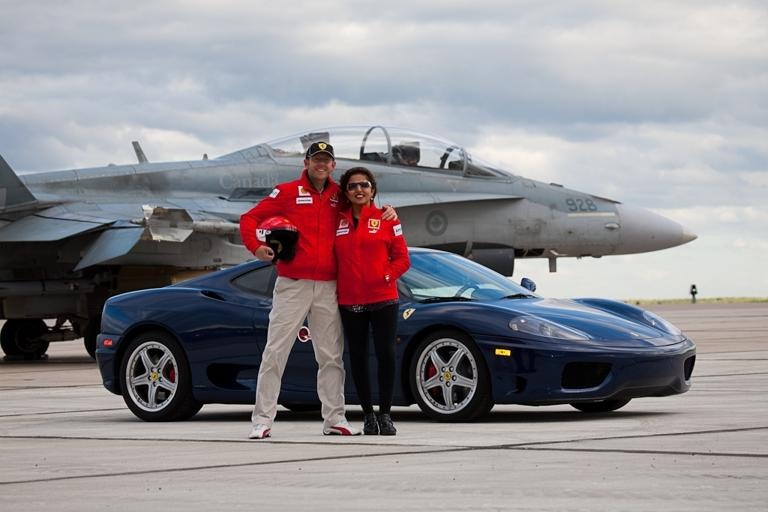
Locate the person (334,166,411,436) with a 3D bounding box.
[{"bbox_3d":[-0.102,0.380,7.191,0.648,2.327,0.848,-2,12,-2],"label":"person"}]

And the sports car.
[{"bbox_3d":[-0.007,0.902,8.351,5.203,0.942,2.383,-2,-2,13],"label":"sports car"}]

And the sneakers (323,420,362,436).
[{"bbox_3d":[-0.385,1.534,7.208,0.401,0.109,0.118,-2,-6,11],"label":"sneakers"}]

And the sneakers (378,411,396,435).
[{"bbox_3d":[0.024,1.469,7.072,0.169,0.186,0.232,-1,9,0],"label":"sneakers"}]

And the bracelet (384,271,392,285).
[{"bbox_3d":[0.031,0.193,7.080,0.082,0.073,0.031,0,3,1],"label":"bracelet"}]

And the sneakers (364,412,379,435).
[{"bbox_3d":[-0.114,1.475,7.109,0.137,0.170,0.177,-1,10,-2],"label":"sneakers"}]

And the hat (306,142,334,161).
[{"bbox_3d":[-0.578,-0.960,7.325,0.241,0.114,0.278,2,2,-14],"label":"hat"}]
